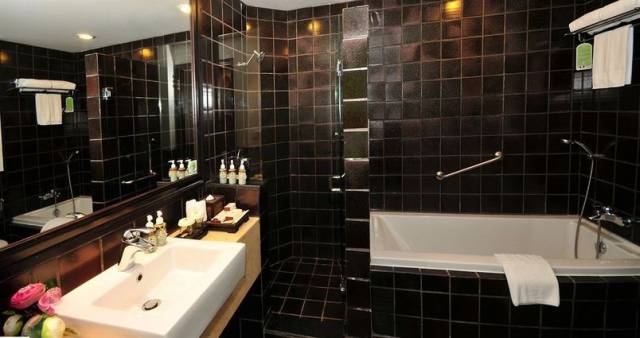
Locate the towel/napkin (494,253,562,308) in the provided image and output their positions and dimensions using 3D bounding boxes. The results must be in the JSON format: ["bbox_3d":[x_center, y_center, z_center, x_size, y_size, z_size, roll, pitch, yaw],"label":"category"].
[{"bbox_3d":[1.961,1.040,3.731,0.510,0.385,0.382,-6,-65,16],"label":"towel/napkin"}]
